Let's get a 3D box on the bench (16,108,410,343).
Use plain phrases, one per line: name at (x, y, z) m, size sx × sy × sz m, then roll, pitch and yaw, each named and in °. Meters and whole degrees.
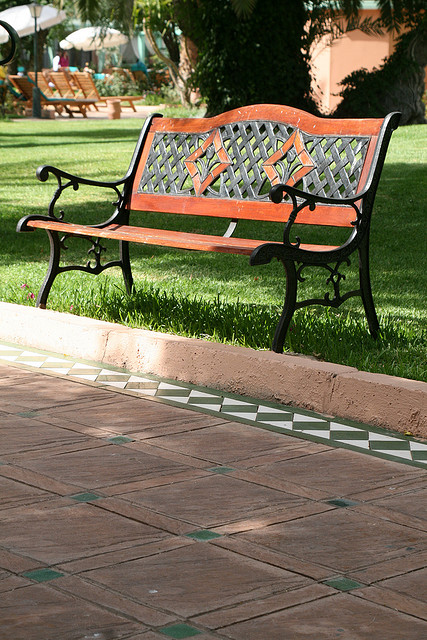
bench at (-0.208, -0.794, 5.272) m, size 1.286 × 1.589 × 3.071 m, roll -13°, pitch 20°, yaw -35°
